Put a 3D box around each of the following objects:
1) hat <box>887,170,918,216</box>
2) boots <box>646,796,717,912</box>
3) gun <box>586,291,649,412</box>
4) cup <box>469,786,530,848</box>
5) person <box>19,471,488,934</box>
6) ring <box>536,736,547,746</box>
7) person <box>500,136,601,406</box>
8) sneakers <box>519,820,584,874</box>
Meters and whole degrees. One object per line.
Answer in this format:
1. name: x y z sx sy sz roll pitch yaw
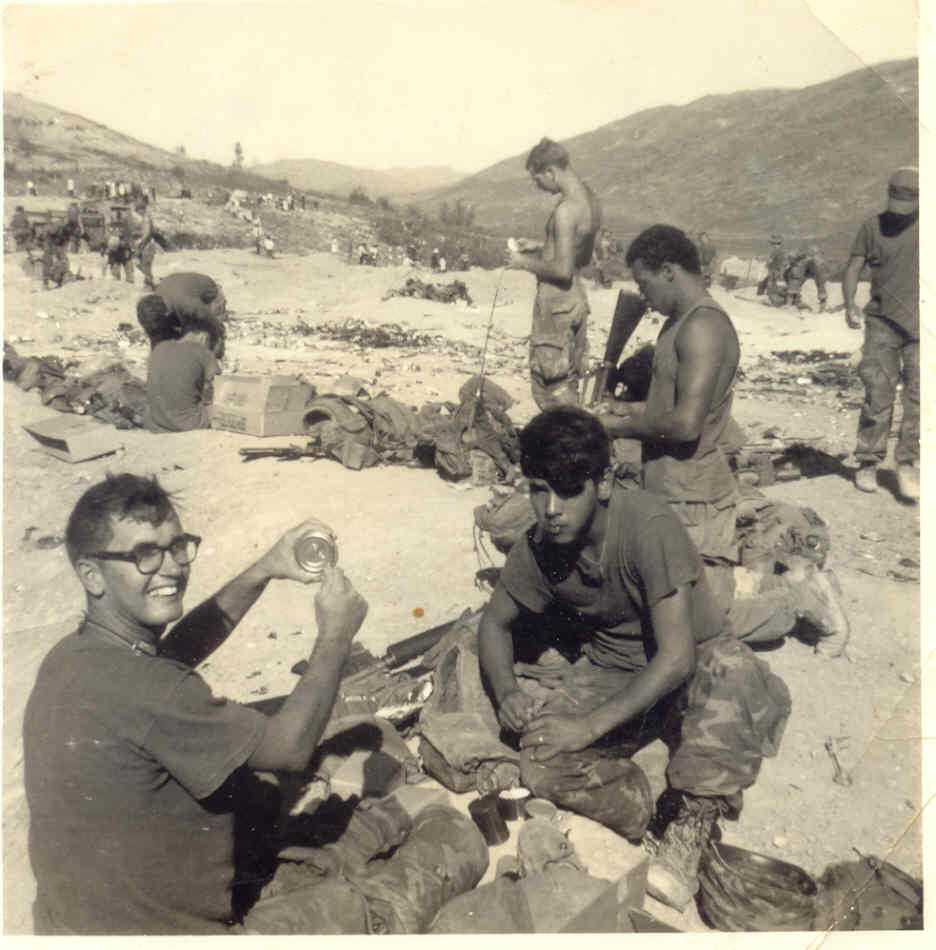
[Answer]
1. hat: 2.759 -1.798 6.289 0.218 0.269 0.258 13 13 37
2. boots: 0.775 1.353 3.616 0.225 0.397 0.140 25 -15 3
3. gun: 0.779 -0.592 5.354 0.208 0.835 0.099 13 36 -8
4. cup: 0.141 1.259 3.660 0.220 0.209 0.132 -5 -2 -37
5. person: -0.723 0.787 3.176 1.300 1.420 0.595 1 11 -25
6. ring: 0.278 0.985 3.669 0.029 0.023 0.007 -19 3 13
7. person: 0.531 -1.217 6.225 0.436 1.641 0.666 12 12 34
8. sneakers: 0.287 1.318 3.486 0.180 0.125 0.137 12 24 36
